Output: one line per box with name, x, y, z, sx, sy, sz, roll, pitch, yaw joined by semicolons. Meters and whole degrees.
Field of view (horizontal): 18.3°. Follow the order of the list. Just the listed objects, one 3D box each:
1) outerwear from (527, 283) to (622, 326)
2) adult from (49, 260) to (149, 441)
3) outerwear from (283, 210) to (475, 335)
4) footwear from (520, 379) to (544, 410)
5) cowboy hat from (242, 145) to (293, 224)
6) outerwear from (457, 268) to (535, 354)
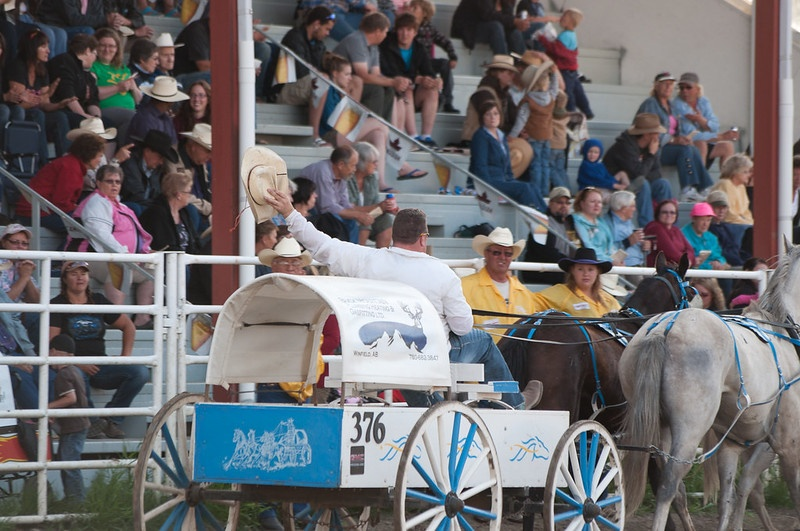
outerwear;2.266;0.445;31.078;1.457;0.468;0.719;1;11;-37
adult;-3.881;1.026;31.058;1.403;2.132;1.430;10;15;37
outerwear;-0.170;0.044;29.009;1.729;1.630;0.555;-5;-39;-19
footwear;1.600;1.513;29.579;0.326;0.336;0.266;-2;11;-40
cowboy hat;-1.574;-0.950;29.034;0.598;0.837;0.367;-14;10;-31
outerwear;1.168;0.577;30.199;0.993;0.840;0.402;4;-11;-27
